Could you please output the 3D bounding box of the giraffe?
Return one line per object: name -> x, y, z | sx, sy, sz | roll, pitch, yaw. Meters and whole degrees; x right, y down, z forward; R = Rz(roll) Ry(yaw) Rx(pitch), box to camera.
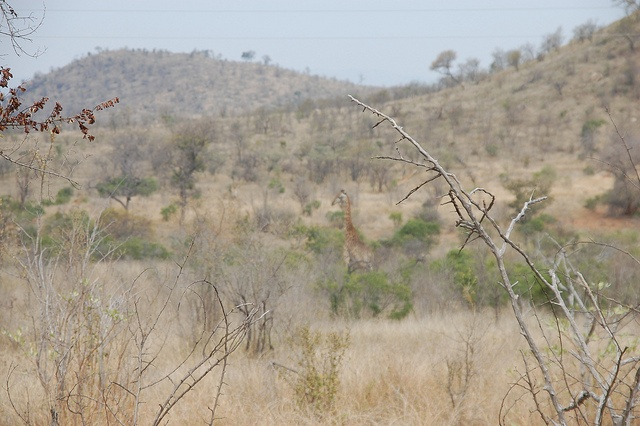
giraffe -> 1.657, 0.915, 58.599 | 1.681, 3.904, 2.373 | -2, -8, 1
